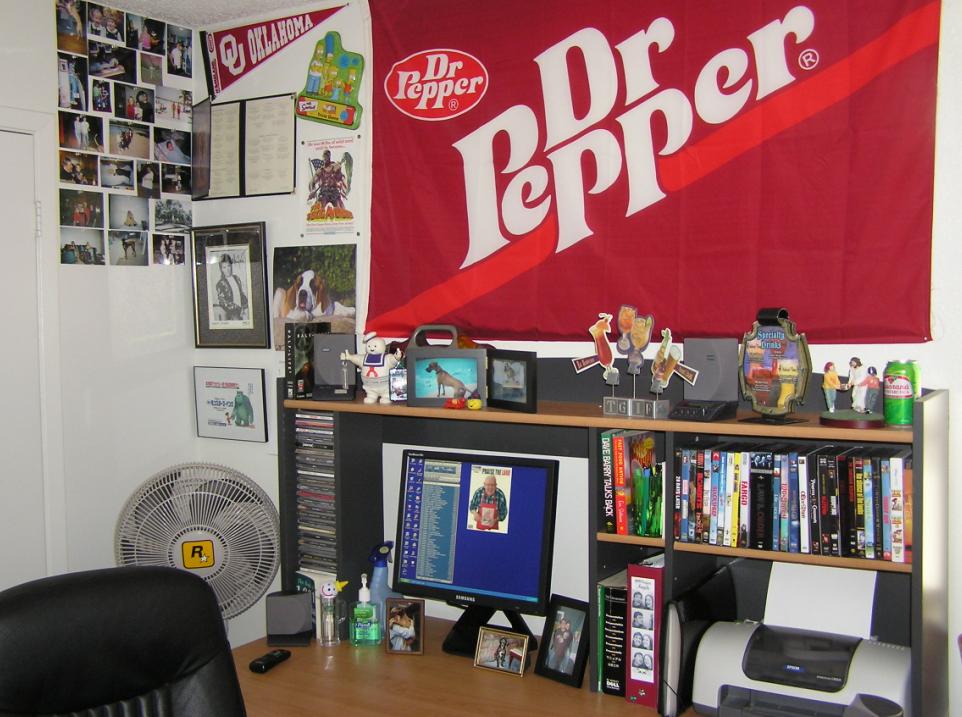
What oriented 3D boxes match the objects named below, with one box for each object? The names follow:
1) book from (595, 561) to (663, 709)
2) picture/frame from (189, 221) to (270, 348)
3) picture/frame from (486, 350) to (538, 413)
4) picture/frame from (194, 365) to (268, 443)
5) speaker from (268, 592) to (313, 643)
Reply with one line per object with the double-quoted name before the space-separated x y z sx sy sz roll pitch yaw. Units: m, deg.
"book" 0.444 0.834 2.393 0.189 0.369 0.350 0 -2 31
"picture/frame" -1.027 -0.313 3.344 0.440 0.622 0.037 1 3 24
"picture/frame" 0.101 0.072 2.589 0.165 0.193 0.024 4 6 44
"picture/frame" -1.058 0.185 3.397 0.399 0.326 0.078 4 0 30
"speaker" -0.647 0.866 2.785 0.142 0.162 0.140 -2 -6 23
